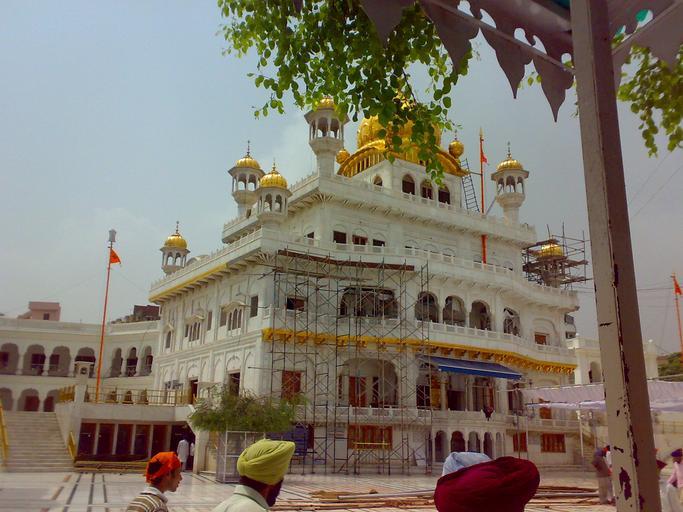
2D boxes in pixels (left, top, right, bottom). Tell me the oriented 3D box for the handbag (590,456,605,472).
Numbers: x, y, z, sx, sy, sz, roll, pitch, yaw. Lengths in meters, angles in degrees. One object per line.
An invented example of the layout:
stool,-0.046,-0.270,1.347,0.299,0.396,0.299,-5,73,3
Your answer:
handbag,6.156,4.974,15.077,0.233,0.441,0.385,6,-21,-17
